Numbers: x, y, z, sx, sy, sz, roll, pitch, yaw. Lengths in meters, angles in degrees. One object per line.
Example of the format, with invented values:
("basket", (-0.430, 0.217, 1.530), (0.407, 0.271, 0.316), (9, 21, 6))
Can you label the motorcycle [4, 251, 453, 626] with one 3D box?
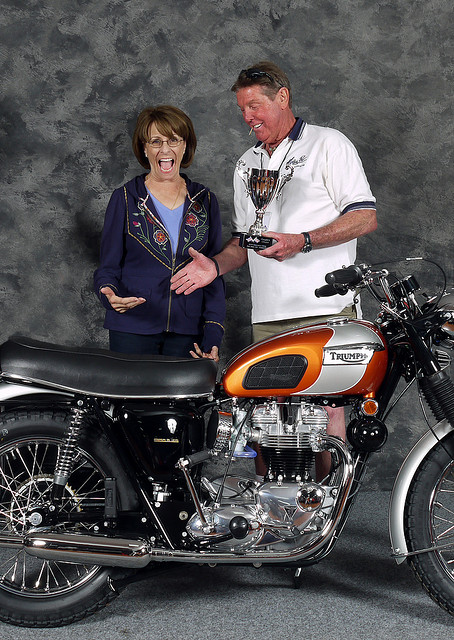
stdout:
("motorcycle", (-0.025, 0.389, 2.054), (1.902, 0.953, 0.745), (-1, 0, -2))
